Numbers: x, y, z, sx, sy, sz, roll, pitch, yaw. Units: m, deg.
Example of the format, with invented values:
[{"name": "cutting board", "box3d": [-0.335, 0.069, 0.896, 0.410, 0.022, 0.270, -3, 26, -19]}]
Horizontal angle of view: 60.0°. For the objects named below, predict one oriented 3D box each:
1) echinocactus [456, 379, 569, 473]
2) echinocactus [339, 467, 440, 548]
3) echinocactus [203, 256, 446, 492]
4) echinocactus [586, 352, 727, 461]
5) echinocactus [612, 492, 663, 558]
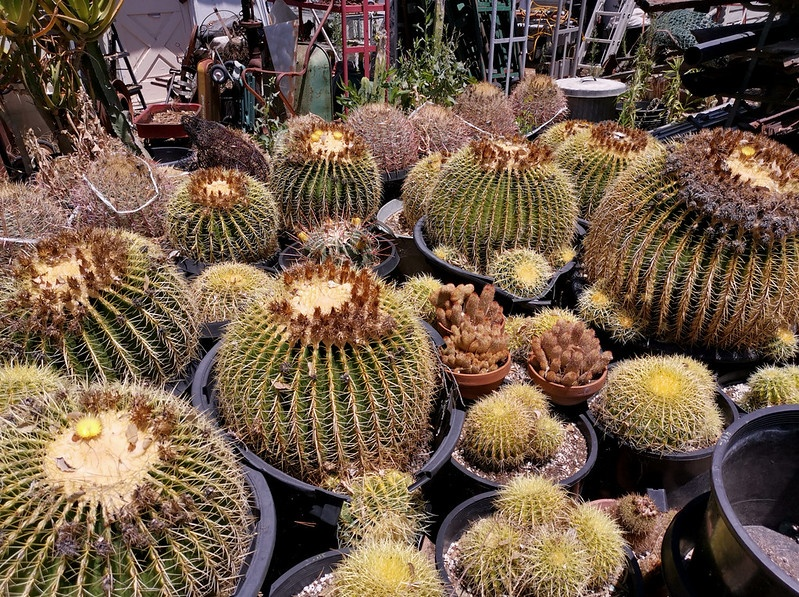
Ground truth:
[{"name": "echinocactus", "box3d": [0.656, 0.748, 4.094, 0.609, 0.322, 0.412, -7, 37, -11]}, {"name": "echinocactus", "box3d": [-0.077, 1.147, 3.614, 0.384, 0.425, 0.397, -25, 27, -10]}, {"name": "echinocactus", "box3d": [-0.392, 0.491, 4.002, 1.076, 1.225, 1.137, -22, 36, -34]}, {"name": "echinocactus", "box3d": [1.590, 0.631, 4.169, 0.778, 0.355, 0.533, -2, 37, -5]}, {"name": "echinocactus", "box3d": [1.286, 1.239, 3.900, 0.273, 0.304, 0.289, 1, 26, 4]}]
